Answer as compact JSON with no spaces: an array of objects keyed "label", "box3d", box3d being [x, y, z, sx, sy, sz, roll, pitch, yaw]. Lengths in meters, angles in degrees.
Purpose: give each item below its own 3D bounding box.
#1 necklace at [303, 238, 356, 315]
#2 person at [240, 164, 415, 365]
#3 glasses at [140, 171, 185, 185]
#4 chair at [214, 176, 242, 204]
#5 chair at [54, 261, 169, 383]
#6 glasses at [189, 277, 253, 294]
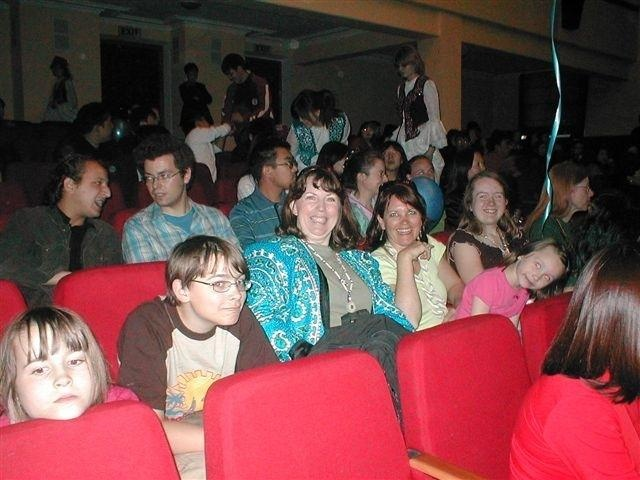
[{"label":"necklace","box3d":[0.034,0.144,2.132,0.120,0.020,0.387,-1,49,-36]},{"label":"person","box3d":[0.028,0.125,2.103,0.611,0.844,0.454,1,-14,-27]},{"label":"glasses","box3d":[-0.863,-0.337,2.634,0.226,0.068,0.100,7,13,16]},{"label":"chair","box3d":[-0.837,-0.444,4.433,0.190,0.177,0.437,1,12,-12]},{"label":"chair","box3d":[-0.754,0.289,1.908,0.383,0.495,0.391,0,-5,-32]},{"label":"glasses","box3d":[-0.305,0.144,1.555,0.171,0.051,0.054,-4,15,-32]}]
